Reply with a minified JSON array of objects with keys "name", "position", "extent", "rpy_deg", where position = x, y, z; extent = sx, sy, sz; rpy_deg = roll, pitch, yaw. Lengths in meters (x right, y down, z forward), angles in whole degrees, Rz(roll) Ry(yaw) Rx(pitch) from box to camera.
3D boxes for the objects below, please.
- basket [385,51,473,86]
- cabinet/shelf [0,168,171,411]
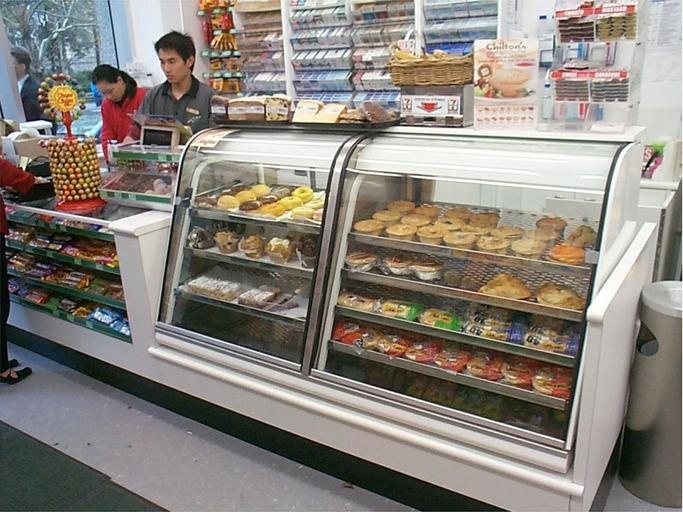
[{"name":"basket","position":[0.441,-0.932,2.346],"extent":[0.322,0.119,0.244],"rpy_deg":[3,23,15]},{"name":"cabinet/shelf","position":[-1.751,0.242,3.224],"extent":[1.686,0.911,0.539],"rpy_deg":[12,20,27]}]
